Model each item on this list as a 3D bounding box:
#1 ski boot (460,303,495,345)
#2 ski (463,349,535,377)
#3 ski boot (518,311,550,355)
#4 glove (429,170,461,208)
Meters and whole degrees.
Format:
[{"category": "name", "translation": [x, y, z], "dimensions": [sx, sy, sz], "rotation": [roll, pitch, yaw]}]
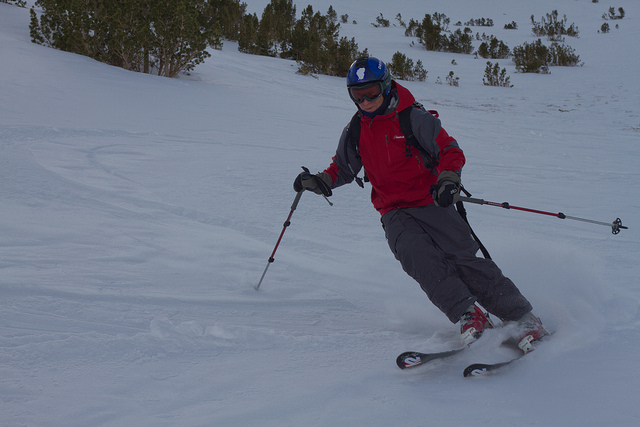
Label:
[{"category": "ski boot", "translation": [1.354, 0.984, 4.951], "dimensions": [0.242, 0.174, 0.502], "rotation": [56, 27, 9]}, {"category": "ski", "translation": [1.523, 1.263, 4.803], "dimensions": [0.689, 0.118, 0.090], "rotation": [-15, 18, -16]}, {"category": "ski boot", "translation": [1.873, 1.037, 4.924], "dimensions": [0.223, 0.360, 0.156], "rotation": [19, -31, 36]}, {"category": "glove", "translation": [1.120, -0.218, 4.913], "dimensions": [0.248, 0.310, 0.147], "rotation": [9, -7, 15]}]
